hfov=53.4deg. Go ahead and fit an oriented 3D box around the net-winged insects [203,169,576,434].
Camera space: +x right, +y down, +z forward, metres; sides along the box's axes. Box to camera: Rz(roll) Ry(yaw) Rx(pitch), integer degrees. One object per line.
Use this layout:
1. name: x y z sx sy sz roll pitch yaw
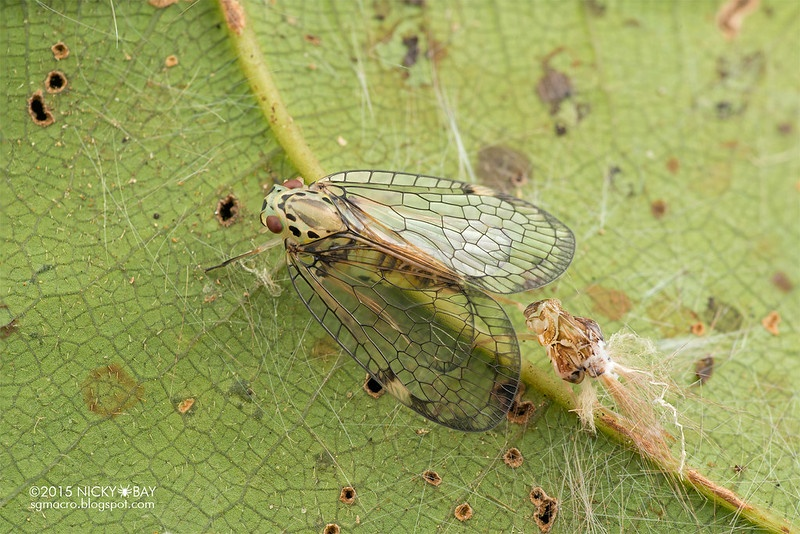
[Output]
1. net-winged insects: 0.093 0.061 5.226 1.795 0.782 1.444 24 62 12
